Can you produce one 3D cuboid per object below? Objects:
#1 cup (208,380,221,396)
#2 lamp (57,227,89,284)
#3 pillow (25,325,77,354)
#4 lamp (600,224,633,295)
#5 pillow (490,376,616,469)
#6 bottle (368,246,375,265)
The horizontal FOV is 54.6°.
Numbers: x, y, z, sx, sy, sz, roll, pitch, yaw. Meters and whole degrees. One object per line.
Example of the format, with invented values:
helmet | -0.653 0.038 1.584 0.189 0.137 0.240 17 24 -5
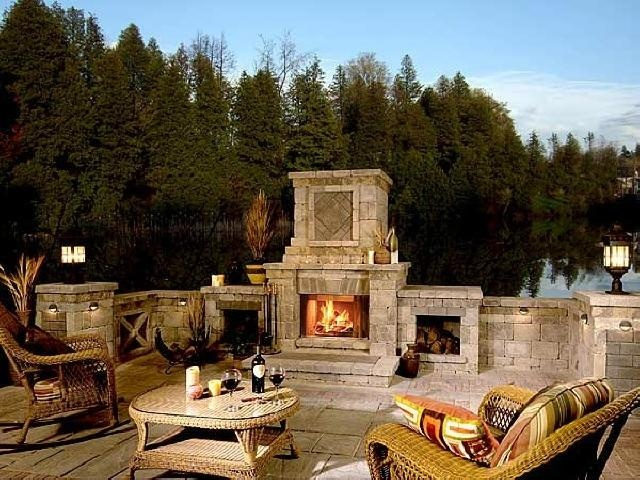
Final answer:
cup | -1.486 2.091 8.748 0.176 0.226 0.194 0 6 -6
lamp | -4.729 0.367 11.840 0.459 0.994 0.954 -2 8 -23
pillow | -4.334 1.583 9.636 0.553 0.163 0.449 21 5 34
lamp | 4.953 0.336 10.301 0.452 1.146 0.687 5 9 25
pillow | 2.700 2.184 7.195 1.342 1.056 0.581 -1 8 -15
bottle | 0.991 0.309 11.846 0.123 0.270 0.276 1 8 3
